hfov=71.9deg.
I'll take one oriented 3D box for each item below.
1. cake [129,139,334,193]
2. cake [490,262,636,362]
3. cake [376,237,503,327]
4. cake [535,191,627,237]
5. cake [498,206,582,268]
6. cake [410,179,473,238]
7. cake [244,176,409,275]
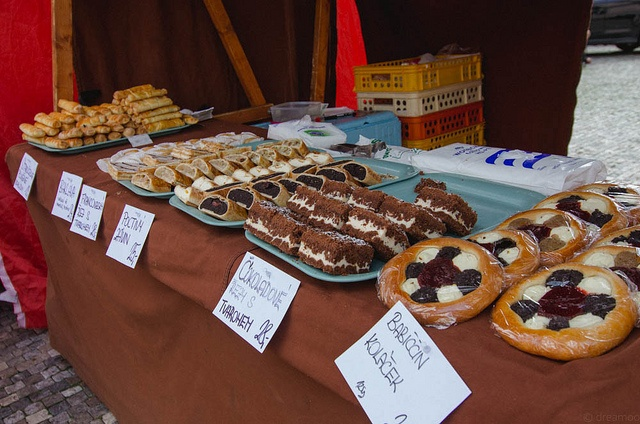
[{"bbox_3d":[-0.453,-0.224,2.140,0.584,0.082,0.416,-13,19,-31],"label":"cake"},{"bbox_3d":[0.620,0.254,1.117,0.326,0.155,0.209,-11,27,-12],"label":"cake"},{"bbox_3d":[0.333,0.189,1.243,0.309,0.154,0.240,-15,28,-20],"label":"cake"},{"bbox_3d":[0.864,-0.007,1.420,0.174,0.050,0.164,-9,25,-1],"label":"cake"},{"bbox_3d":[0.702,0.063,1.344,0.189,0.054,0.183,-18,25,-2],"label":"cake"},{"bbox_3d":[0.420,-0.010,1.611,0.160,0.091,0.253,-16,42,-29],"label":"cake"},{"bbox_3d":[0.081,-0.022,1.480,0.365,0.126,0.362,31,34,34],"label":"cake"}]
